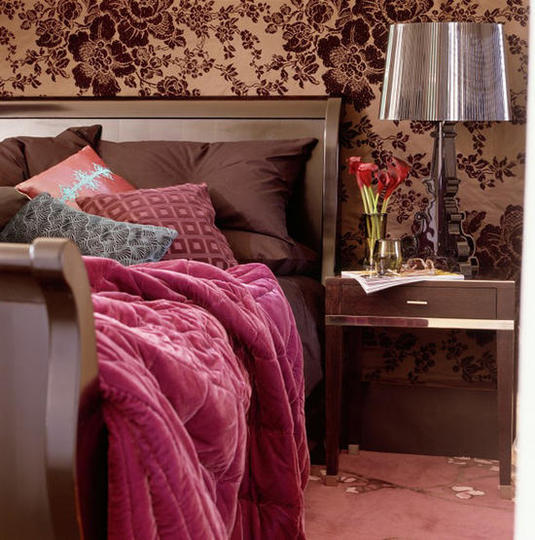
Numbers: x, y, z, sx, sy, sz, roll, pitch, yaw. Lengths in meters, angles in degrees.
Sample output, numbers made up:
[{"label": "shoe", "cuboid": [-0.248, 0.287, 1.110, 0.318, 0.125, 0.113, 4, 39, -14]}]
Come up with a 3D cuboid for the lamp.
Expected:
[{"label": "lamp", "cuboid": [0.668, -0.453, 2.076, 0.458, 0.941, 0.273, 1, 2, 21]}]

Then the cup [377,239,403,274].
[{"label": "cup", "cuboid": [0.437, -0.048, 2.048, 0.125, 0.160, 0.119, 0, -3, 0]}]
